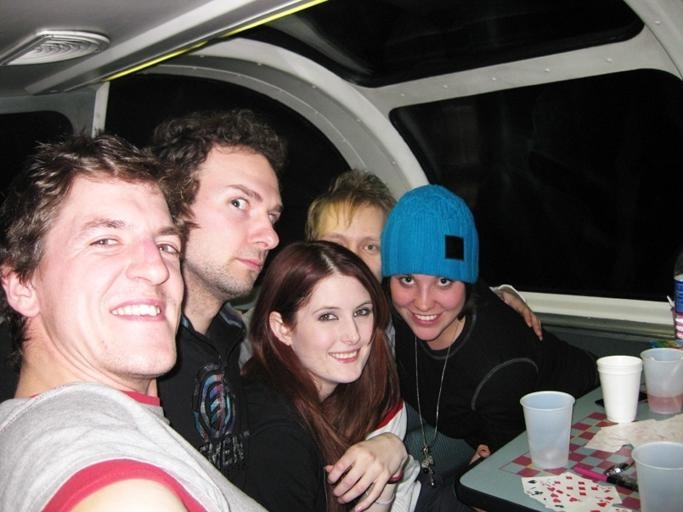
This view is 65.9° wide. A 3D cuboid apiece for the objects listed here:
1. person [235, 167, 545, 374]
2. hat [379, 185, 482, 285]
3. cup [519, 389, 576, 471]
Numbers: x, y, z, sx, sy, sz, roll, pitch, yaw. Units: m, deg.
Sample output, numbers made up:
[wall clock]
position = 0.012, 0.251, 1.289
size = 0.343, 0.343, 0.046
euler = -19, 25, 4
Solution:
[person]
position = 0.199, -0.215, 3.186
size = 1.091, 1.420, 0.758
euler = -6, -46, 19
[hat]
position = 0.492, -0.148, 2.971
size = 0.502, 0.533, 0.532
euler = -1, 7, -8
[cup]
position = 0.748, 0.616, 1.912
size = 0.173, 0.248, 0.199
euler = -2, -7, 21
